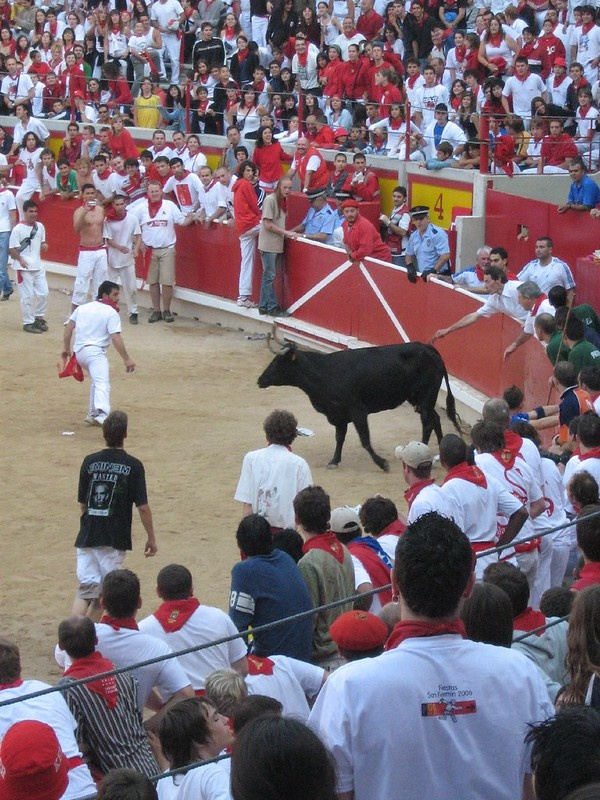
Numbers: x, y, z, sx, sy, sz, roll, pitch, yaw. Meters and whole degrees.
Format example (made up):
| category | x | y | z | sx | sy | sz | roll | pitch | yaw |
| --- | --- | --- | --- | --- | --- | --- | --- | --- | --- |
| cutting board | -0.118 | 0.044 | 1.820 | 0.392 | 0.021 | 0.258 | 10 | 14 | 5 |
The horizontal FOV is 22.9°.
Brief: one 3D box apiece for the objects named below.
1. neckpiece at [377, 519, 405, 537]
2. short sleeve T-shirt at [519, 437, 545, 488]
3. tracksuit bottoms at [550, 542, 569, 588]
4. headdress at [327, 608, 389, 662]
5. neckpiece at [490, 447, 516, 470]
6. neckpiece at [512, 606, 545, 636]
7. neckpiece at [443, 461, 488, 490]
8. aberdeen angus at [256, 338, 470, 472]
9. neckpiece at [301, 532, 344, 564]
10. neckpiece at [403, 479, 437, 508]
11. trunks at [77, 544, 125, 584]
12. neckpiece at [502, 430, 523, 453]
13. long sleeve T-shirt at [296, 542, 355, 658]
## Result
| category | x | y | z | sx | sy | sz | roll | pitch | yaw |
| --- | --- | --- | --- | --- | --- | --- | --- | --- | --- |
| neckpiece | 0.468 | 0.640 | 7.469 | 0.071 | 0.060 | 0.114 | 19 | 44 | 26 |
| short sleeve T-shirt | 1.240 | 0.310 | 8.085 | 0.171 | 0.344 | 0.087 | -3 | 14 | 12 |
| tracksuit bottoms | 1.439 | 0.903 | 8.253 | 0.080 | 0.245 | 0.272 | 5 | 5 | 19 |
| headdress | 0.213 | 0.855 | 5.640 | 0.264 | 0.134 | 0.338 | 0 | 9 | -6 |
| neckpiece | 1.083 | 0.310 | 7.922 | 0.088 | 0.116 | 0.042 | -4 | -13 | 9 |
| neckpiece | 0.948 | 0.911 | 6.196 | 0.096 | 0.135 | 0.121 | -1 | -7 | 8 |
| neckpiece | 0.849 | 0.385 | 7.655 | 0.156 | 0.078 | 0.138 | 3 | 8 | 31 |
| aberdeen angus | 0.628 | 0.059 | 12.770 | 1.884 | 1.128 | 1.520 | -6 | 18 | -33 |
| neckpiece | 0.101 | 0.688 | 6.999 | 0.159 | 0.165 | 0.125 | -7 | 5 | 22 |
| neckpiece | 0.584 | 0.465 | 7.676 | 0.155 | 0.149 | 0.127 | -14 | 4 | 39 |
| trunks | -1.107 | 0.897 | 8.202 | 0.233 | 0.228 | 0.137 | 0 | 34 | 3 |
| neckpiece | 1.140 | 0.208 | 8.034 | 0.077 | 0.123 | 0.085 | -10 | 22 | -2 |
| long sleeve T-shirt | 0.113 | 0.903 | 6.972 | 0.219 | 0.592 | 0.446 | 6 | 15 | 33 |
